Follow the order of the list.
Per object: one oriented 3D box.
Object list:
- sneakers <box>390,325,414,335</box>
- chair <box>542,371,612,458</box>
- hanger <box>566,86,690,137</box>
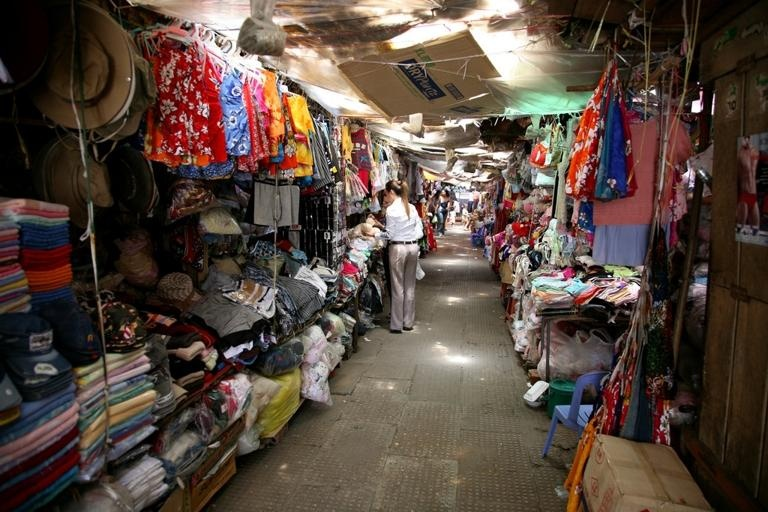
[{"bbox_3d":[0.283,1.161,7.235,0.363,0.151,0.118,-5,6,-2],"label":"sneakers"},{"bbox_3d":[1.616,1.314,3.939,0.464,0.926,0.699,5,13,26],"label":"chair"},{"bbox_3d":[1.817,-1.046,3.353,0.635,0.250,0.815,1,18,6],"label":"hanger"}]
